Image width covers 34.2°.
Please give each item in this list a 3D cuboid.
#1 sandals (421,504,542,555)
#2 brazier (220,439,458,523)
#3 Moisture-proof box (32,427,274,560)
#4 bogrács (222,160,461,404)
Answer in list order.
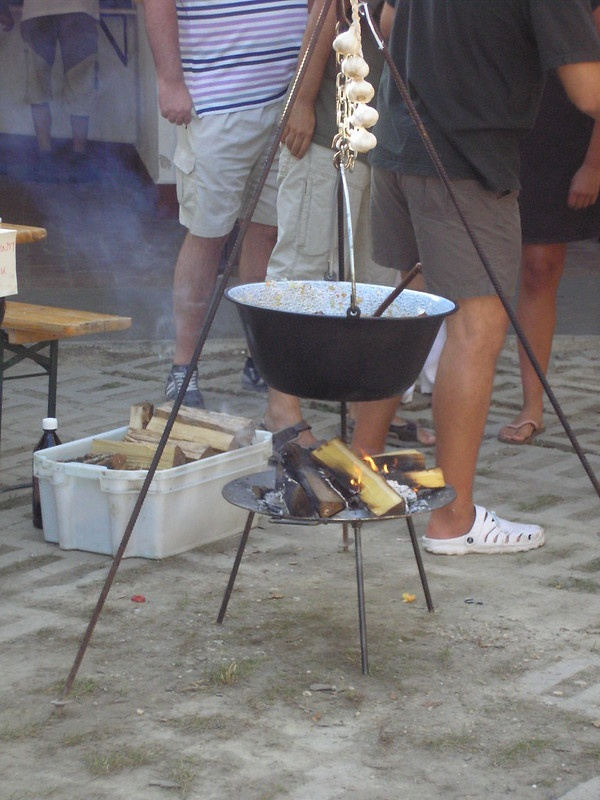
[{"bbox_3d":[0.598,0.402,3.107,0.419,0.144,0.136,-3,6,-2],"label":"sandals"},{"bbox_3d":[0.011,0.232,2.549,0.364,0.099,0.338,3,8,20],"label":"brazier"},{"bbox_3d":[-0.433,0.279,3.058,0.390,0.193,0.581,8,10,41],"label":"Moisture-proof box"},{"bbox_3d":[0.097,-0.268,2.381,0.553,0.469,0.565,1,23,-4],"label":"bogrács"}]
